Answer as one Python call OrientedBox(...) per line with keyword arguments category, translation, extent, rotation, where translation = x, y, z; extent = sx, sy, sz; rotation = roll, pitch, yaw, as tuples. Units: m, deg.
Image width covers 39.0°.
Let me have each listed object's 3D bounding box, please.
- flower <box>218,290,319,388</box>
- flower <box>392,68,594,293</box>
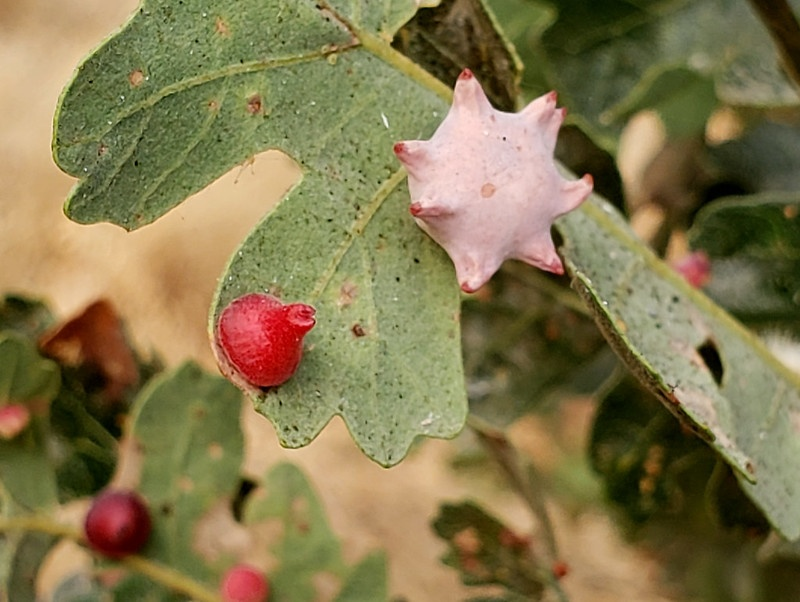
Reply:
OrientedBox(category="flower", translation=(-0.126, 0.023, 1.219), extent=(0.112, 0.071, 0.130), rotation=(-12, 29, 8))
OrientedBox(category="flower", translation=(0.096, -0.125, 1.208), extent=(0.155, 0.196, 0.061), rotation=(-10, 29, 1))
